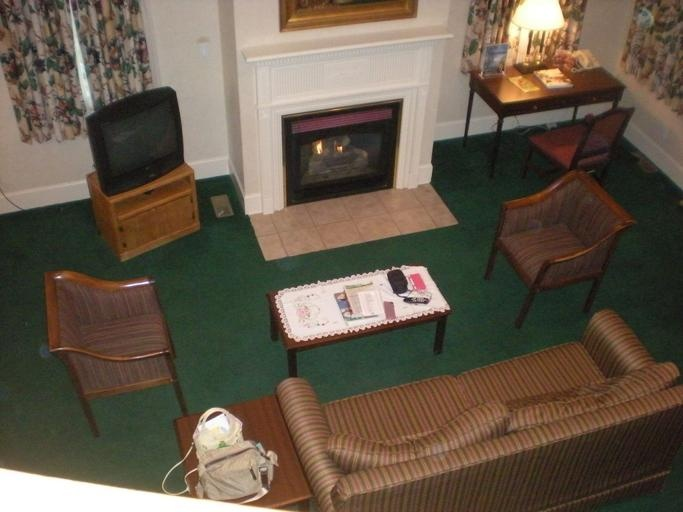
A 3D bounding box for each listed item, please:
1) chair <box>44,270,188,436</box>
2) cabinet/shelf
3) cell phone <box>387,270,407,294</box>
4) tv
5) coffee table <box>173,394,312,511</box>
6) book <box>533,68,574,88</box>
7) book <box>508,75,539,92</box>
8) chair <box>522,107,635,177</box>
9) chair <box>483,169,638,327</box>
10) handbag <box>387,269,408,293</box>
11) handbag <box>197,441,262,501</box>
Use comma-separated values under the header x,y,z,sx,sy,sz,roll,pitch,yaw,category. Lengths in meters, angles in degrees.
x,y,z,sx,sy,sz,roll,pitch,yaw,category
-1.704,0.714,4.181,0.909,1.058,0.893,-1,41,-12,chair
-2.043,-0.546,5.667,0.896,0.734,0.614,-29,51,-36,cabinet/shelf
0.463,0.212,4.584,0.155,0.073,0.299,-6,32,-5,cell phone
-1.954,-1.075,5.178,0.825,0.772,0.464,-27,51,-37,tv
-0.678,1.227,3.480,0.693,0.670,0.695,-9,79,-23,coffee table
2.412,-2.050,6.322,0.327,0.065,0.298,-9,44,-11,book
2.085,-1.965,6.278,0.269,0.053,0.355,-13,42,-16,book
2.715,-1.275,6.295,0.646,1.126,0.661,-23,62,-6,chair
1.938,-0.073,5.043,0.857,1.103,0.781,-13,42,-15,chair
0.469,0.211,4.585,0.147,0.072,0.282,-7,33,-5,handbag
-0.651,1.269,3.180,0.395,0.264,0.246,-14,42,-16,handbag
